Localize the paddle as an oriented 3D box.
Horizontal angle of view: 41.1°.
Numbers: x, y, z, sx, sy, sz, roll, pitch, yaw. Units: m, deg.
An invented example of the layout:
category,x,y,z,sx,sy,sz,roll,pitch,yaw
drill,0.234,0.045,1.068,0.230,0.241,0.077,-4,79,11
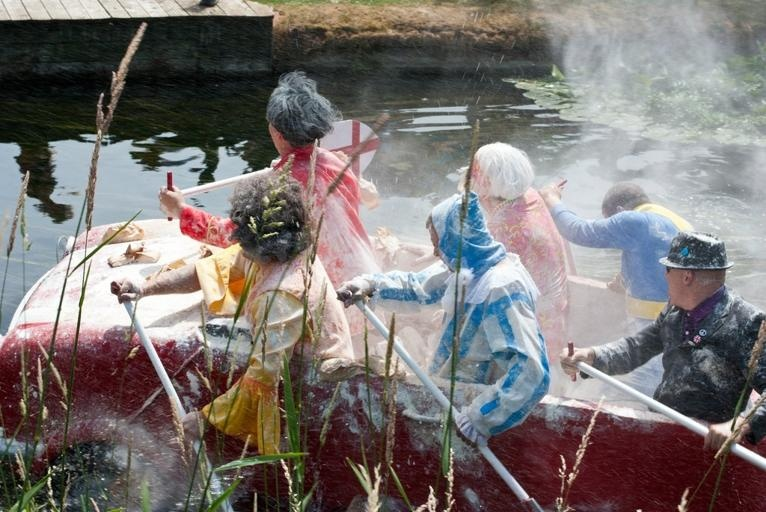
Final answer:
category,x,y,z,sx,sy,sz,roll,pitch,yaw
paddle,-1.090,-0.847,9.119,2.211,0.807,0.091,-14,3,-4
